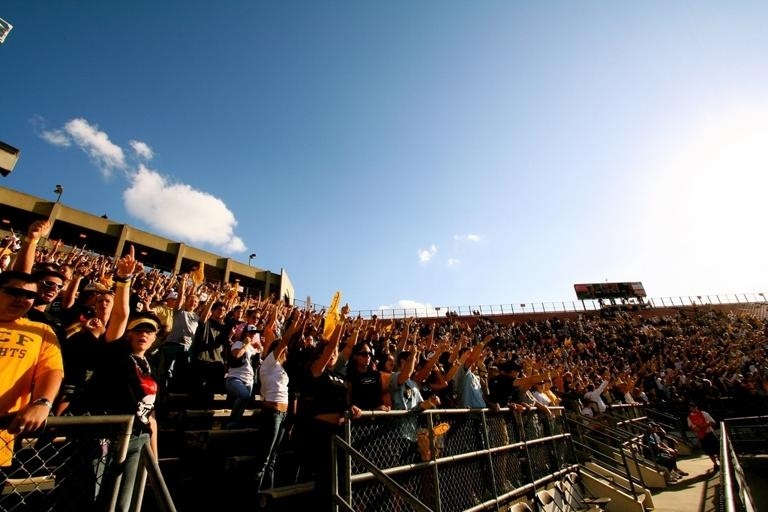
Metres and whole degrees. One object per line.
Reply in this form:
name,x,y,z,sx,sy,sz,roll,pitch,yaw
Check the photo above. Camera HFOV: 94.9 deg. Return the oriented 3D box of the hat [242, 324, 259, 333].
hat,-2.861,1.591,7.611,0.236,0.136,0.159,-10,-6,-24
